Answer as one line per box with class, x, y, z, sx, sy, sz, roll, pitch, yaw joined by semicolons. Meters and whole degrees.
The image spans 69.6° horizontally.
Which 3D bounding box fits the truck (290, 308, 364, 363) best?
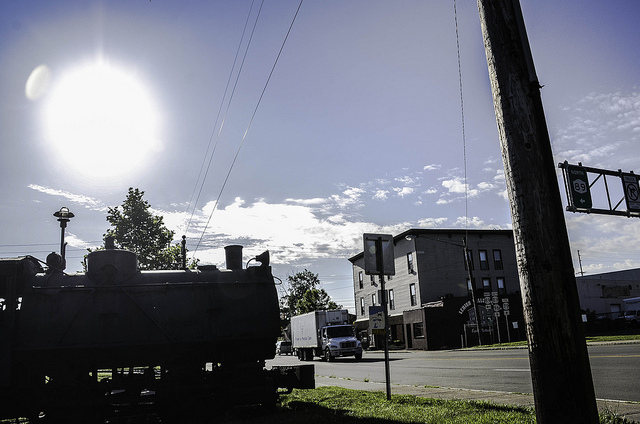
truck;0.228;10.417;38.380;2.718;3.893;9.138;1;-16;-23
